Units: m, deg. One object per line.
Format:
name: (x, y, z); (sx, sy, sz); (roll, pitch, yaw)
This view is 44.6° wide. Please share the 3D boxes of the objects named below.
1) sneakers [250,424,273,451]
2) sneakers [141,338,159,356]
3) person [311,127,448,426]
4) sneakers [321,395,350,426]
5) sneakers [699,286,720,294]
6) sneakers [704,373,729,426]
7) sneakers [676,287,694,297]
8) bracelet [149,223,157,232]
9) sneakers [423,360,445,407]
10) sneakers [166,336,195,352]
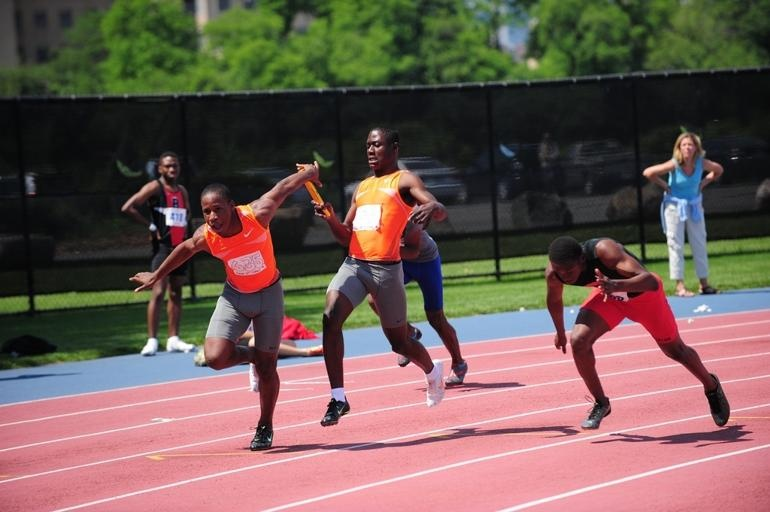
sneakers: (-1.494, 2.201, 11.393); (0.162, 0.184, 0.409); (1, -2, 9)
sneakers: (-3.843, 1.495, 15.448); (0.186, 0.232, 0.356); (0, -2, 35)
person: (-0.113, 0.306, 11.677); (1.615, 3.661, 1.007); (-8, 13, -21)
sneakers: (-0.628, 1.876, 11.306); (0.205, 0.295, 0.391); (5, 15, 34)
sneakers: (5.972, 0.627, 17.346); (0.343, 0.123, 0.133); (-2, 6, 1)
sneakers: (3.959, 1.770, 11.299); (0.273, 0.670, 0.237); (-15, 0, -44)
sneakers: (5.552, 0.666, 17.263); (0.135, 0.162, 0.387); (-6, 2, -33)
bracelet: (-3.812, -0.476, 15.458); (0.132, 0.121, 0.133); (6, 12, 36)
sneakers: (0.588, 1.602, 11.949); (0.207, 0.606, 0.268); (2, 7, 29)
sneakers: (-3.388, 1.462, 15.447); (0.575, 0.276, 0.203); (0, 2, 6)
